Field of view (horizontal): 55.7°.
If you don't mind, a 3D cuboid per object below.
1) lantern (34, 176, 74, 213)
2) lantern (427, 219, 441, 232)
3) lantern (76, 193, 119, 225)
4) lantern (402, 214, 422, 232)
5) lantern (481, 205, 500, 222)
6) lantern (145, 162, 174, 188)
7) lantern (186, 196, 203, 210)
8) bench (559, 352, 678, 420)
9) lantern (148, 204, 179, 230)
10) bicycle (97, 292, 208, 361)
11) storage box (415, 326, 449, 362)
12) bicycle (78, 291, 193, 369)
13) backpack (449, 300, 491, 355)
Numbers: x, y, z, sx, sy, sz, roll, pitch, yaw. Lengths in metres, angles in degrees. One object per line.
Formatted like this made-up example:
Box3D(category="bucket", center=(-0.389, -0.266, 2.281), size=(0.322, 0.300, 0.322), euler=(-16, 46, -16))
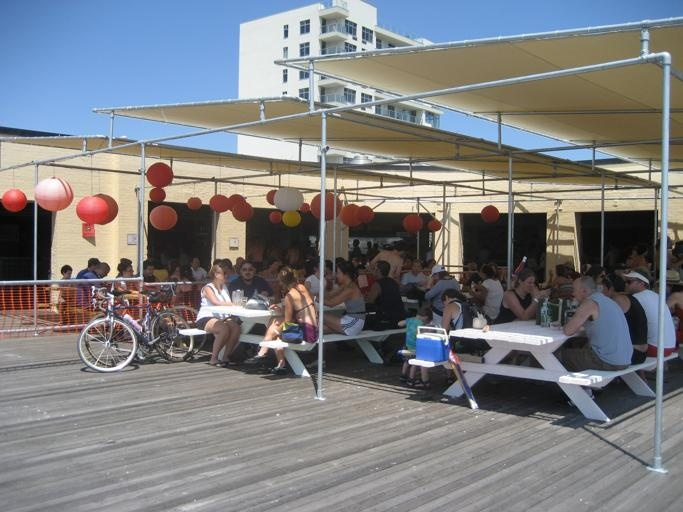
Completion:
Box3D(category="lantern", center=(-4.892, -1.033, 11.028), size=(0.615, 0.631, 0.630), euler=(5, 6, 22))
Box3D(category="lantern", center=(2.616, -0.833, 17.904), size=(0.284, 0.302, 0.610), euler=(3, 8, 16))
Box3D(category="lantern", center=(-4.346, -0.807, 11.384), size=(0.578, 0.512, 0.706), euler=(-1, 8, -13))
Box3D(category="lantern", center=(1.893, -0.842, 16.730), size=(0.403, 0.494, 1.321), euler=(2, 8, 8))
Box3D(category="lantern", center=(3.810, -1.168, 16.316), size=(0.479, 0.266, 0.484), euler=(3, -41, 7))
Box3D(category="lantern", center=(-3.181, -1.402, 11.242), size=(0.427, 0.421, 0.440), euler=(-2, 8, -17))
Box3D(category="lantern", center=(-3.375, -1.208, 14.819), size=(0.264, 0.265, 0.460), euler=(-2, 8, -19))
Box3D(category="bench", center=(3.042, 1.460, 7.369), size=(1.716, 0.552, 0.566), euler=(-7, 11, -44))
Box3D(category="lantern", center=(-3.495, -0.751, 12.652), size=(0.413, 0.455, 0.481), euler=(0, 8, -4))
Box3D(category="bicycle", center=(-2.775, 1.039, 9.268), size=(1.680, 1.031, 0.760), euler=(2, -2, -43))
Box3D(category="storage box", center=(1.049, 0.995, 7.353), size=(0.428, 0.406, 0.234), euler=(-1, -1, 40))
Box3D(category="bicycle", center=(-2.815, 1.032, 9.027), size=(0.453, 1.021, 1.758), euler=(-11, -7, 40))
Box3D(category="backpack", center=(1.627, 0.919, 8.027), size=(0.509, 0.752, 0.491), euler=(4, 4, 43))
